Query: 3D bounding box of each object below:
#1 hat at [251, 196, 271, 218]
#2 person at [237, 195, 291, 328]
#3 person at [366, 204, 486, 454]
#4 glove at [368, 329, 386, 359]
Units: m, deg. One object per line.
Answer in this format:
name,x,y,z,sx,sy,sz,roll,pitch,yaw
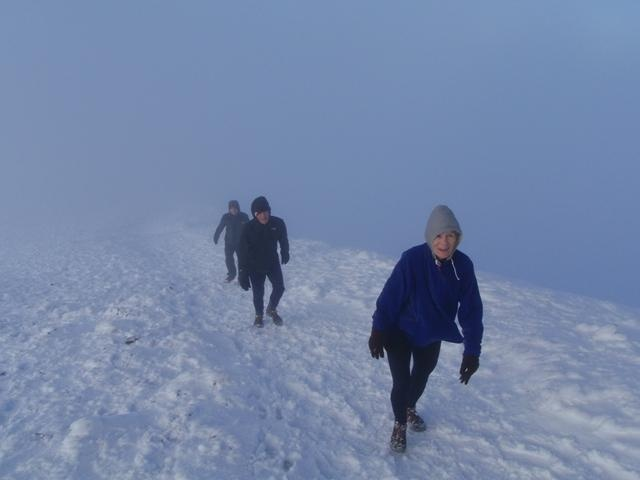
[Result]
hat,-0.896,-0.496,8.436,0.265,0.367,0.328,2,12,-6
person,-0.883,0.322,8.812,0.711,2.167,1.015,11,14,32
person,1.215,1.074,6.419,1.263,2.952,0.624,4,12,5
glove,0.652,1.172,6.320,0.199,0.305,0.096,1,-1,-34
